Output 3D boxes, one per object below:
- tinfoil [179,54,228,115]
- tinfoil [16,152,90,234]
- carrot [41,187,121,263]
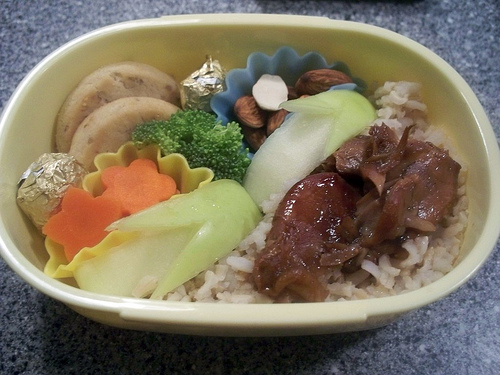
[{"bbox_3d":[-0.151,-0.358,1.936,0.218,0.171,0.159,0,27,-1],"label":"tinfoil"},{"bbox_3d":[-0.635,0.022,1.765,0.229,0.192,0.132,-43,4,-17],"label":"tinfoil"},{"bbox_3d":[-0.512,0.102,1.670,0.180,0.218,0.048,35,-3,3],"label":"carrot"}]
